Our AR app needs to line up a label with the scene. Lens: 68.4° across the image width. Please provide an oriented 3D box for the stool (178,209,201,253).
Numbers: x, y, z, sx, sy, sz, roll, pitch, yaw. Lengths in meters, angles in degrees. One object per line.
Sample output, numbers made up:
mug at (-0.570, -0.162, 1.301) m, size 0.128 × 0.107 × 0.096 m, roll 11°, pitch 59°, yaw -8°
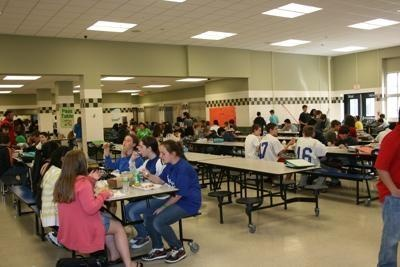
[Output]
stool at (-0.151, 1.455, 4.449) m, size 0.549 × 0.530 × 0.480 m, roll -2°, pitch -8°, yaw 3°

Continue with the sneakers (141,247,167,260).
sneakers at (-0.677, 1.679, 4.158) m, size 0.388 × 0.171 × 0.135 m, roll 2°, pitch -5°, yaw -9°

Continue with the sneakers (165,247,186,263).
sneakers at (-0.330, 1.644, 4.039) m, size 0.122 × 0.129 × 0.312 m, roll 2°, pitch 1°, yaw 43°

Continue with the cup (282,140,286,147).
cup at (2.444, 0.281, 8.508) m, size 0.159 × 0.217 × 0.115 m, roll -6°, pitch -3°, yaw -6°

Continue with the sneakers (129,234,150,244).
sneakers at (-0.937, 1.587, 4.474) m, size 0.307 × 0.115 × 0.110 m, roll 3°, pitch -4°, yaw -25°

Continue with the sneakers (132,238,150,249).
sneakers at (-0.905, 1.646, 4.476) m, size 0.271 × 0.101 × 0.104 m, roll -6°, pitch 8°, yaw -39°
